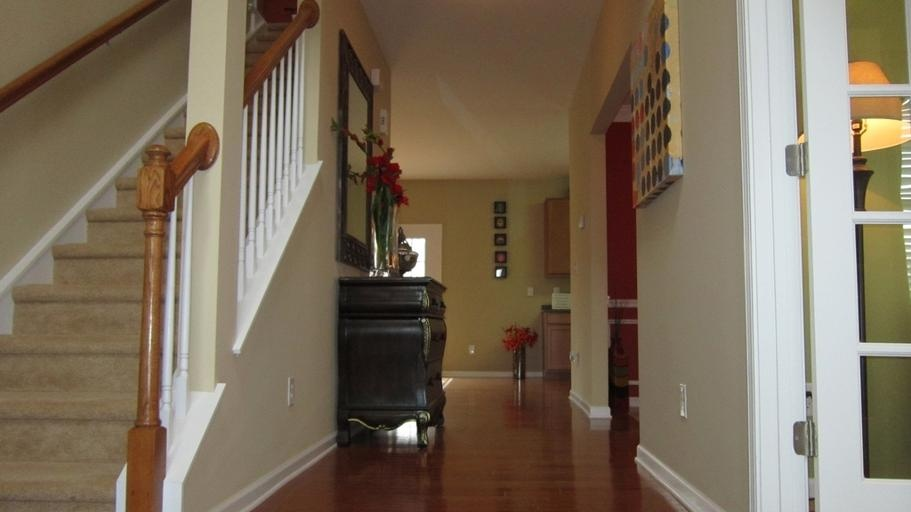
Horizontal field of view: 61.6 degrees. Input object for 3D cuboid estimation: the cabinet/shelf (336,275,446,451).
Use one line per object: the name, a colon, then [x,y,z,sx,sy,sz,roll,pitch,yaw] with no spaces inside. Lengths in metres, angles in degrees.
cabinet/shelf: [-0.434,0.601,6.555,0.963,1.663,1.730,-1,-4,0]

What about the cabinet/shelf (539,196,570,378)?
cabinet/shelf: [1.394,0.413,10.657,0.352,2.114,0.684,0,0,6]

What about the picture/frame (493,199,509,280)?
picture/frame: [0.655,-0.227,11.052,0.209,0.921,0.180,0,0,-1]

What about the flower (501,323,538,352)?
flower: [0.895,1.113,10.504,0.390,0.345,0.389,-1,-3,-33]
